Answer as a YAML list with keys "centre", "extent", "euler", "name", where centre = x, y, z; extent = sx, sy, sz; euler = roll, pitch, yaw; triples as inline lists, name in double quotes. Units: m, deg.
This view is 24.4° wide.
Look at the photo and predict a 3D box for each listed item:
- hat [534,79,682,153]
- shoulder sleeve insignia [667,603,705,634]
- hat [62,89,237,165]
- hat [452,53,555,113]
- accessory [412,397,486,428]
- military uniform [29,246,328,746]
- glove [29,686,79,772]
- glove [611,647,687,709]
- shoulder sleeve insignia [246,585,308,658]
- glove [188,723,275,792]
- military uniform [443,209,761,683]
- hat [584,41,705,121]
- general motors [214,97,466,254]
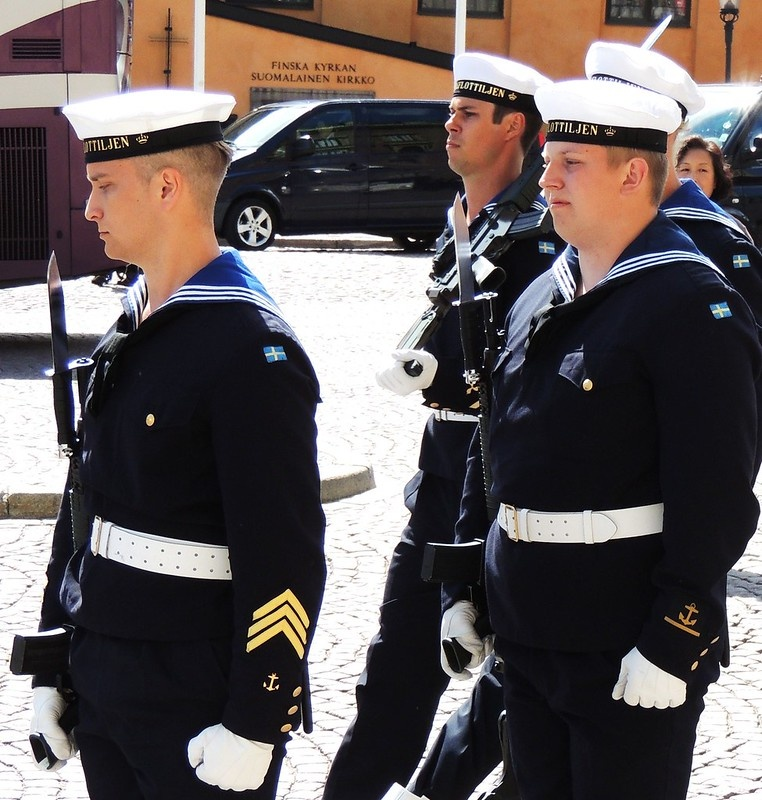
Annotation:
- centre: [0.502, -0.569, 3.620]
  extent: [0.330, 0.116, 0.291]
  euler: [11, 4, 15]
  name: "hat"
- centre: [0.564, 0.409, 3.260]
  extent: [0.047, 0.041, 0.004]
  euler: [30, -17, 7]
  name: "shoulder sleeve insignia"
- centre: [-0.460, -0.549, 3.468]
  extent: [0.336, 0.106, 0.264]
  euler: [-15, 16, -29]
  name: "hat"
- centre: [0.340, -0.881, 4.851]
  extent: [0.248, 0.094, 0.192]
  euler: [11, -1, -34]
  name: "hat"
- centre: [0.195, 0.043, 5.059]
  extent: [0.223, 0.075, 0.171]
  euler: [0, -1, 19]
  name: "accessory"
- centre: [-0.367, 0.169, 3.331]
  extent: [0.335, 0.881, 0.657]
  euler: [-5, 12, -45]
  name: "military uniform"
- centre: [-0.649, 0.648, 3.517]
  extent: [0.097, 0.164, 0.066]
  euler: [1, 10, 40]
  name: "glove"
- centre: [0.492, 0.528, 3.282]
  extent: [0.143, 0.118, 0.067]
  euler: [9, 10, 34]
  name: "glove"
- centre: [-0.184, 0.408, 3.179]
  extent: [0.130, 0.129, 0.031]
  euler: [-3, 11, -40]
  name: "shoulder sleeve insignia"
- centre: [-0.287, 0.636, 3.142]
  extent: [0.164, 0.108, 0.078]
  euler: [7, 9, 19]
  name: "glove"
- centre: [0.470, 0.072, 3.501]
  extent: [0.374, 0.879, 0.643]
  euler: [-2, 10, -36]
  name: "military uniform"
- centre: [0.654, -0.791, 4.283]
  extent: [0.276, 0.100, 0.249]
  euler: [5, 8, -40]
  name: "hat"
- centre: [-0.581, -2.490, 18.841]
  extent: [3.498, 1.608, 1.864]
  euler: [1, -1, -26]
  name: "general motors"
